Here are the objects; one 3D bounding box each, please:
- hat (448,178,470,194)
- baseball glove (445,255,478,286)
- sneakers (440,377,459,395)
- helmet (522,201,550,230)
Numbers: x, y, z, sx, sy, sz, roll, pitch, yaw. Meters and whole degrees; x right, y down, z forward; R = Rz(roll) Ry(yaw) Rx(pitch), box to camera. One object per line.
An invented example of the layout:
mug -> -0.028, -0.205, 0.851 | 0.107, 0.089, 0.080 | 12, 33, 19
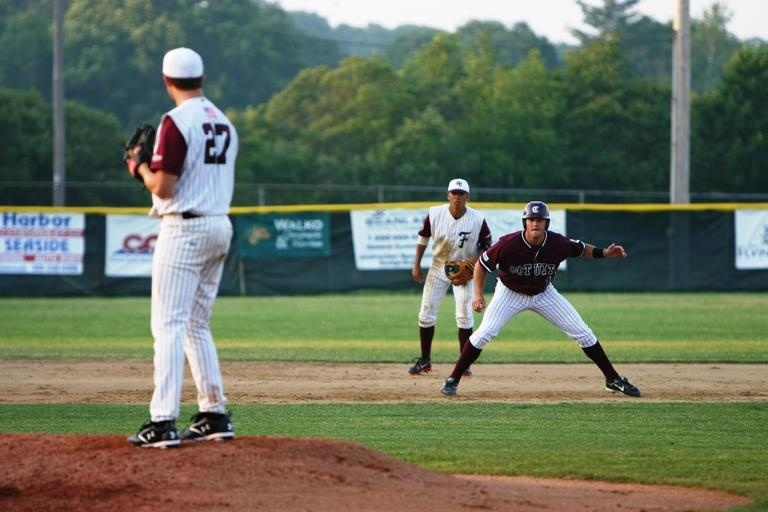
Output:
hat -> 1.624, -1.509, 32.855 | 0.381, 0.286, 0.536 | 1, -6, 1
baseball glove -> 1.641, 0.346, 32.751 | 0.490, 0.339, 0.630 | -1, 13, 3
sneakers -> 1.367, 2.745, 31.679 | 0.209, 0.227, 0.559 | 2, -4, 22
helmet -> 3.155, -0.841, 31.495 | 0.509, 0.483, 0.544 | 1, -8, 3
